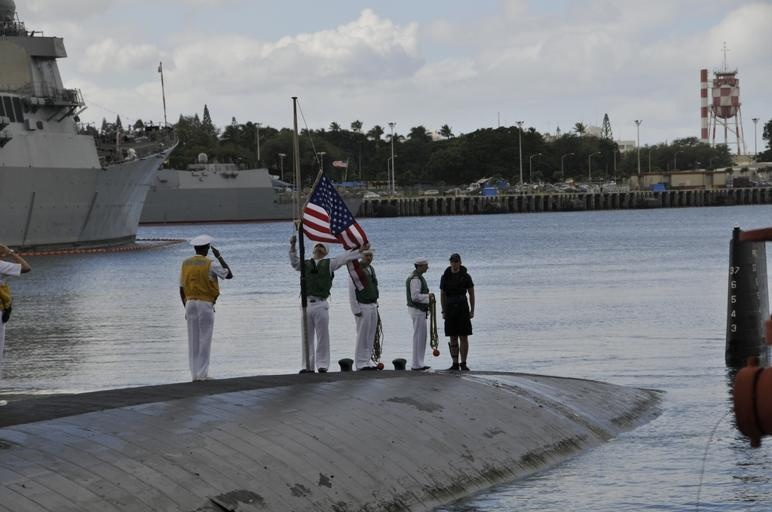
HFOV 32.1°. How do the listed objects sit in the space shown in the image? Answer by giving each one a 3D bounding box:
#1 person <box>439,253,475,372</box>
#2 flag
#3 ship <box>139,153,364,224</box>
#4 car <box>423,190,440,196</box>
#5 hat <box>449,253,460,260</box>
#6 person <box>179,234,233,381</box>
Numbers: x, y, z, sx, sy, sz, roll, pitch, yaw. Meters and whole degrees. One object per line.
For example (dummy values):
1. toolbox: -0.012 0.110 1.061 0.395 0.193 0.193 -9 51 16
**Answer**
1. person: 1.627 1.296 29.767 0.726 2.578 1.587 -1 3 3
2. flag: -1.076 -0.842 28.145 1.322 1.542 0.487 -1 3 -3
3. ship: -11.089 -5.429 113.599 21.726 5.953 4.471 1 5 26
4. car: 5.632 -7.176 158.549 0.658 0.895 4.700 -1 0 16
5. hat: 1.574 0.038 29.606 0.199 0.125 0.256 0 -9 18
6. person: -3.752 1.089 27.625 0.966 2.901 0.511 -1 3 1
